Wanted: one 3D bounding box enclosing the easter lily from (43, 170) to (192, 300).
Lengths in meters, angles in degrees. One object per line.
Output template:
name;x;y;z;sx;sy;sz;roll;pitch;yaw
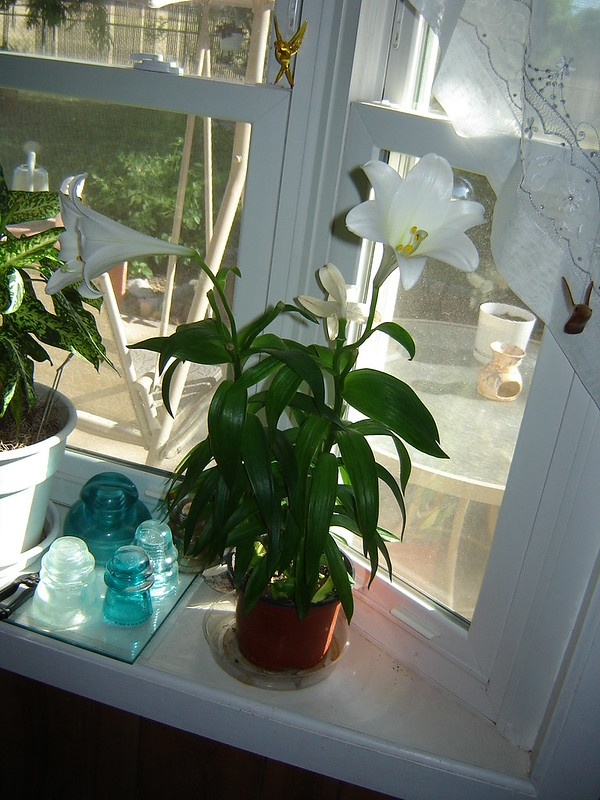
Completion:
easter lily;-0.151;-0.130;0.472;0.119;0.096;0.085;8;16;-3

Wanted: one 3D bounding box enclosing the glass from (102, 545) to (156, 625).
glass;-0.244;0.286;0.803;0.059;0.092;0.059;-7;-3;26

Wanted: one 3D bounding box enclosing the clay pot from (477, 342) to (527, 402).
clay pot;0.248;-0.032;0.668;0.050;0.069;0.048;-2;28;1

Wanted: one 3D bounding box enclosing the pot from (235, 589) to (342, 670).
pot;-0.018;0.289;0.751;0.125;0.130;0.133;4;13;-1
